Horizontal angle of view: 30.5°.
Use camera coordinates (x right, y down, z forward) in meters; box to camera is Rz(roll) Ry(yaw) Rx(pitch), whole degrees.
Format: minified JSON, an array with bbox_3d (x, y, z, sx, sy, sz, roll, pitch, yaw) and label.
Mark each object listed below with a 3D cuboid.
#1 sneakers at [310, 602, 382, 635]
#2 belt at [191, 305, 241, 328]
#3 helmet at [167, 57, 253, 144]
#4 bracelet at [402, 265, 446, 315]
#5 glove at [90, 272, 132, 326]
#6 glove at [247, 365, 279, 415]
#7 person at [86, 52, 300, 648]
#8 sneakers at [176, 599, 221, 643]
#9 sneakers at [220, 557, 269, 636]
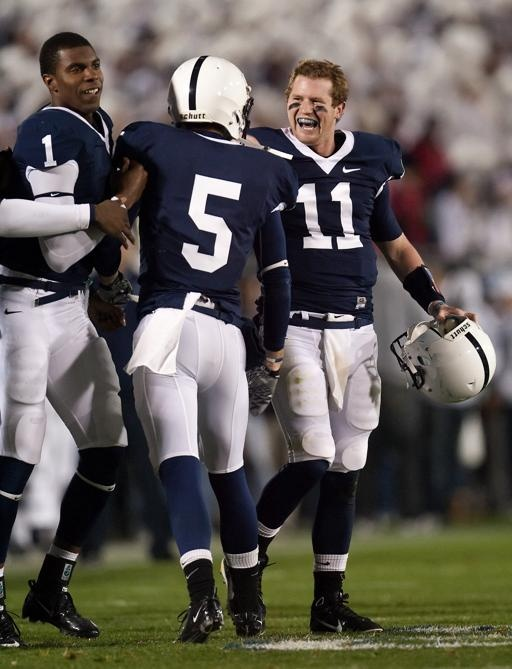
[{"bbox_3d":[0.247,0.822,2.747,0.228,0.079,0.078,-5,-6,31],"label":"sneakers"},{"bbox_3d":[-0.099,-0.049,2.500,0.086,0.024,0.057,17,-3,-5],"label":"belt"},{"bbox_3d":[-0.127,-0.659,2.655,0.233,0.225,0.284,7,19,19],"label":"helmet"},{"bbox_3d":[0.581,-0.159,3.296,0.119,0.188,0.078,-41,-3,-14],"label":"bracelet"},{"bbox_3d":[-0.432,-0.118,2.903,0.142,0.168,0.075,13,46,13],"label":"glove"},{"bbox_3d":[0.047,0.158,2.829,0.097,0.133,0.147,-4,-5,-21],"label":"glove"},{"bbox_3d":[-0.142,0.136,2.465,0.519,1.373,0.499,4,3,-11],"label":"person"},{"bbox_3d":[-0.119,0.718,2.340,0.069,0.081,0.173,14,-39,-26],"label":"sneakers"},{"bbox_3d":[-0.037,0.740,2.620,0.098,0.234,0.122,-3,-8,-18],"label":"sneakers"}]
